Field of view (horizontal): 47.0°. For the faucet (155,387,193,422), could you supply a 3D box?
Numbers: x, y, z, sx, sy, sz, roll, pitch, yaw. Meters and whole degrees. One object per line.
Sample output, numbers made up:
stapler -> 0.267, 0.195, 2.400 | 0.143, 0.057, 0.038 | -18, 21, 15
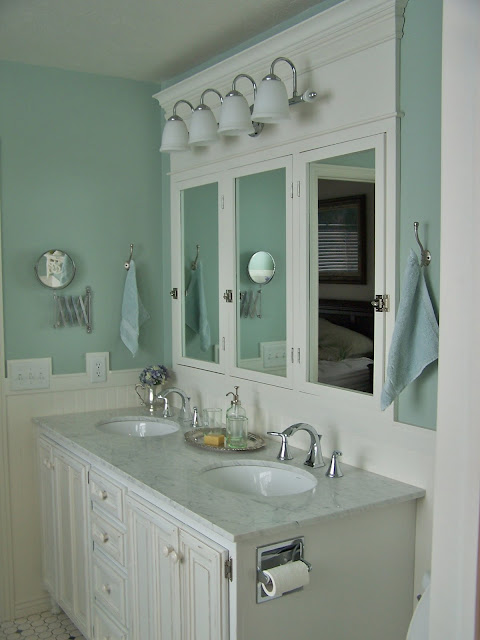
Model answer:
faucet -> -0.303, 0.383, 2.579 | 0.212, 0.211, 0.101 | 5, -7, -42

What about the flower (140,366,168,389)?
flower -> -0.414, 0.275, 2.682 | 0.101, 0.104, 0.112 | -5, -4, 19

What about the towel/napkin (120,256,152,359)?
towel/napkin -> -0.532, -0.053, 2.732 | 0.156, 0.483, 0.131 | -11, 10, -24

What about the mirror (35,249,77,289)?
mirror -> -0.872, -0.248, 2.603 | 0.160, 0.162, 0.165 | -12, 29, -36

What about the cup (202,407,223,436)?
cup -> -0.128, 0.414, 2.290 | 0.058, 0.106, 0.099 | 1, 3, 18

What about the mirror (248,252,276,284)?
mirror -> 0.088, -0.203, 2.131 | 0.015, 0.164, 0.127 | 1, 0, -36

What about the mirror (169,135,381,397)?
mirror -> 0.141, -0.209, 2.048 | 0.078, 0.813, 1.075 | -1, 0, -31

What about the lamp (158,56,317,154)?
lamp -> -0.033, -0.793, 2.035 | 0.290, 0.254, 0.700 | -15, 11, -34
